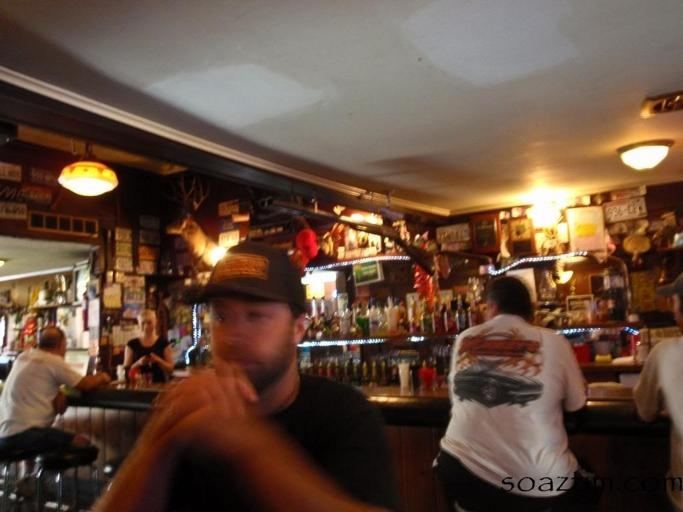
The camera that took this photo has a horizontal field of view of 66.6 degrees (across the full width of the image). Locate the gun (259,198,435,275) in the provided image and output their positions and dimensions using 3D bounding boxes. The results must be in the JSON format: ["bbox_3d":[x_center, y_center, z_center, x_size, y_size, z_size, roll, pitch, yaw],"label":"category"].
[{"bbox_3d":[0.123,-0.236,5.877,2.748,0.834,0.237,16,-22,-41],"label":"gun"}]

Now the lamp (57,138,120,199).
[{"bbox_3d":[-2.404,-0.888,4.950,0.498,0.432,0.506,-6,-6,33],"label":"lamp"}]

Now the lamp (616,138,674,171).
[{"bbox_3d":[2.850,-0.910,4.973,0.331,0.132,0.334,0,-4,-1],"label":"lamp"}]

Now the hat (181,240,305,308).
[{"bbox_3d":[-0.319,0.070,1.789,0.238,0.156,0.310,-9,-23,39],"label":"hat"}]

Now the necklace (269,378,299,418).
[{"bbox_3d":[-0.184,0.487,1.817,0.100,0.115,0.128,3,-14,15],"label":"necklace"}]

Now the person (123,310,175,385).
[{"bbox_3d":[-2.371,1.249,6.359,0.578,1.134,0.574,1,-1,0],"label":"person"}]
